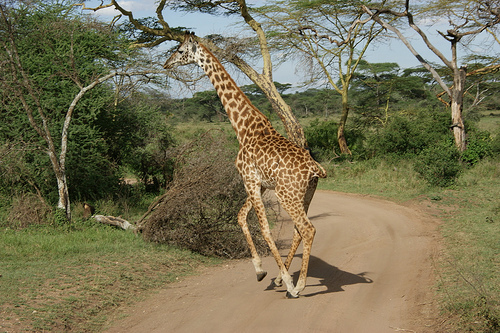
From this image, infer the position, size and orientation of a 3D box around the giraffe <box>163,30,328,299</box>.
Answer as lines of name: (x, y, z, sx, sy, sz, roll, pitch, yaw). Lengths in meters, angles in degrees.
giraffe: (0.241, -0.329, 19.260, 4.075, 8.623, 3.389, -4, -1, -8)
